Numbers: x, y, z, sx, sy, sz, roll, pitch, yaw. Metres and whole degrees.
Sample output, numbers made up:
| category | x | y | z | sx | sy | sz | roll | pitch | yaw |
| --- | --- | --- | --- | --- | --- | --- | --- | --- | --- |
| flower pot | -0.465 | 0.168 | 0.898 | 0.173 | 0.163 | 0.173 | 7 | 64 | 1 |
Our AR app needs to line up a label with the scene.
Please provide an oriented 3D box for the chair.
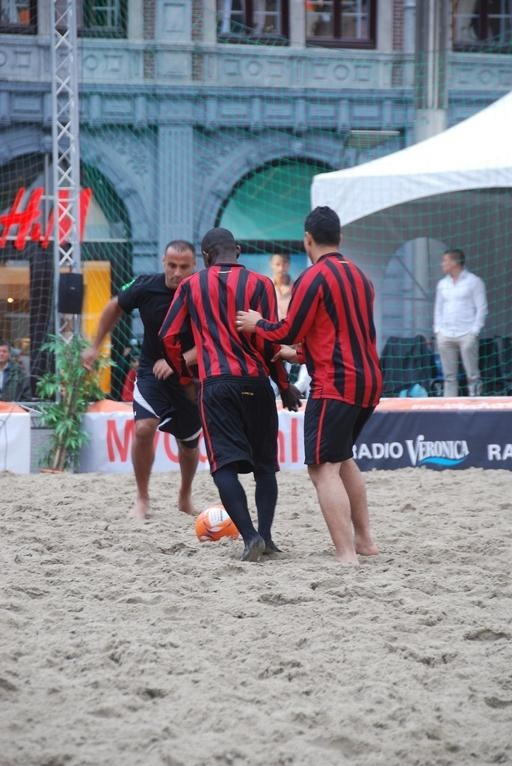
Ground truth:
| category | x | y | z | sx | sy | sz | roll | pitch | yaw |
| --- | --- | --- | --- | --- | --- | --- | --- | --- | --- |
| chair | 1.677 | -0.094 | 10.325 | 0.894 | 0.364 | 0.675 | 12 | 21 | 39 |

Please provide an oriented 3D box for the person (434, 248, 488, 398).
| category | x | y | z | sx | sy | sz | roll | pitch | yaw |
| --- | --- | --- | --- | --- | --- | --- | --- | --- | --- |
| person | 1.794 | -0.517 | 10.007 | 0.412 | 1.276 | 0.497 | 0 | 4 | 5 |

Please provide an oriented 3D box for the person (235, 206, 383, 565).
| category | x | y | z | sx | sy | sz | roll | pitch | yaw |
| --- | --- | --- | --- | --- | --- | --- | --- | --- | --- |
| person | 0.257 | 0.014 | 4.969 | 0.603 | 1.562 | 0.422 | -1 | 4 | -8 |

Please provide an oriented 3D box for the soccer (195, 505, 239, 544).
| category | x | y | z | sx | sy | sz | roll | pitch | yaw |
| --- | --- | --- | --- | --- | --- | --- | --- | --- | --- |
| soccer | -0.197 | 0.701 | 5.565 | 0.169 | 0.170 | 0.167 | 1 | -10 | -22 |

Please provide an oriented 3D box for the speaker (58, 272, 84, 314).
| category | x | y | z | sx | sy | sz | roll | pitch | yaw |
| --- | --- | --- | --- | --- | --- | --- | --- | --- | --- |
| speaker | -1.681 | -0.794 | 10.259 | 0.224 | 0.375 | 0.234 | -1 | 4 | -10 |
